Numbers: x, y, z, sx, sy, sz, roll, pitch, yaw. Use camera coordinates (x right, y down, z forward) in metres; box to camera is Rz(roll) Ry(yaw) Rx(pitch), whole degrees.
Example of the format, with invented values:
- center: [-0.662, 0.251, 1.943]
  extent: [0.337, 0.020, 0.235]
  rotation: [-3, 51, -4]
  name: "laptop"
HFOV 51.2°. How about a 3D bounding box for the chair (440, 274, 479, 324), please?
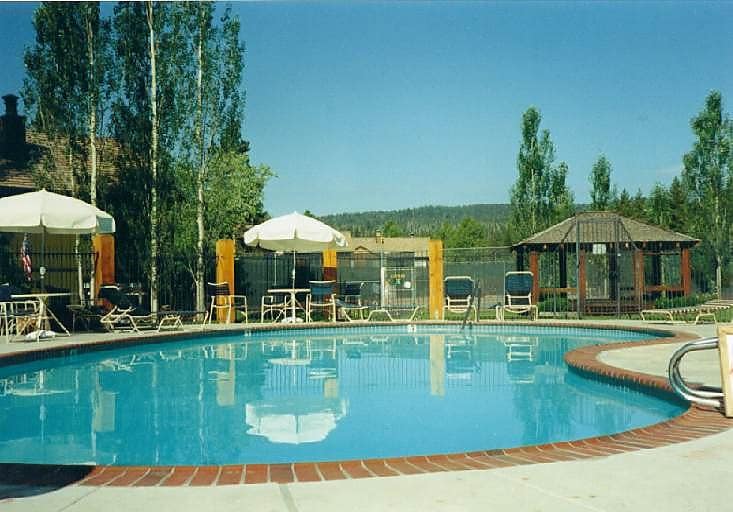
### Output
- center: [3.684, 1.588, 30.229]
  extent: [1.674, 2.457, 1.813]
  rotation: [0, 13, 14]
  name: "chair"
